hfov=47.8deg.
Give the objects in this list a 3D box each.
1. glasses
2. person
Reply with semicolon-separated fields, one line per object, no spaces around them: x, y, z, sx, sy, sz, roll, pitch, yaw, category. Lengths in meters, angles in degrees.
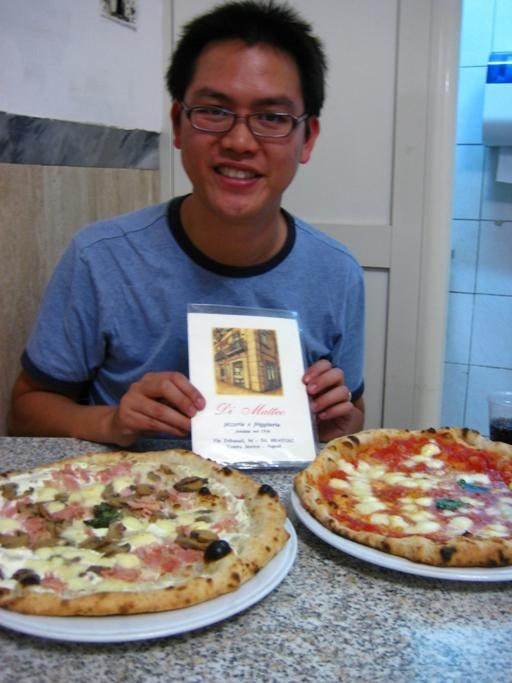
-0.017;-0.409;1.081;0.232;0.075;0.096;0;9;-5;glasses
-0.117;-0.238;1.274;0.811;0.897;0.460;1;9;0;person
